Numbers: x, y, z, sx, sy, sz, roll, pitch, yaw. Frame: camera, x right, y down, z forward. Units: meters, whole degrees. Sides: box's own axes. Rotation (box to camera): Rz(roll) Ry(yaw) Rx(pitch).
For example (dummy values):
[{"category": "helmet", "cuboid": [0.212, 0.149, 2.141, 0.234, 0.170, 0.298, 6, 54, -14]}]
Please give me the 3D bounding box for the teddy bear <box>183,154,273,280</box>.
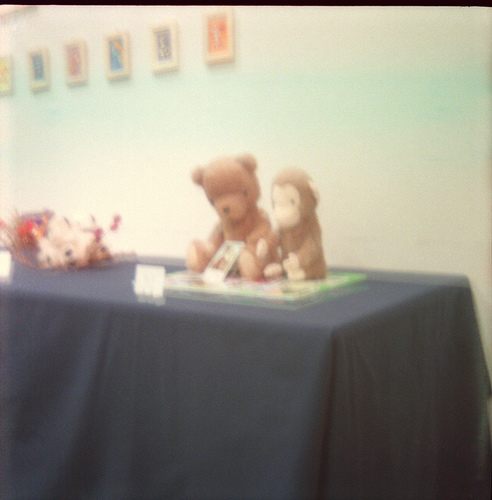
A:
[{"category": "teddy bear", "cuboid": [-0.030, -0.077, 1.207, 0.163, 0.278, 0.166, 6, 15, 27]}]
